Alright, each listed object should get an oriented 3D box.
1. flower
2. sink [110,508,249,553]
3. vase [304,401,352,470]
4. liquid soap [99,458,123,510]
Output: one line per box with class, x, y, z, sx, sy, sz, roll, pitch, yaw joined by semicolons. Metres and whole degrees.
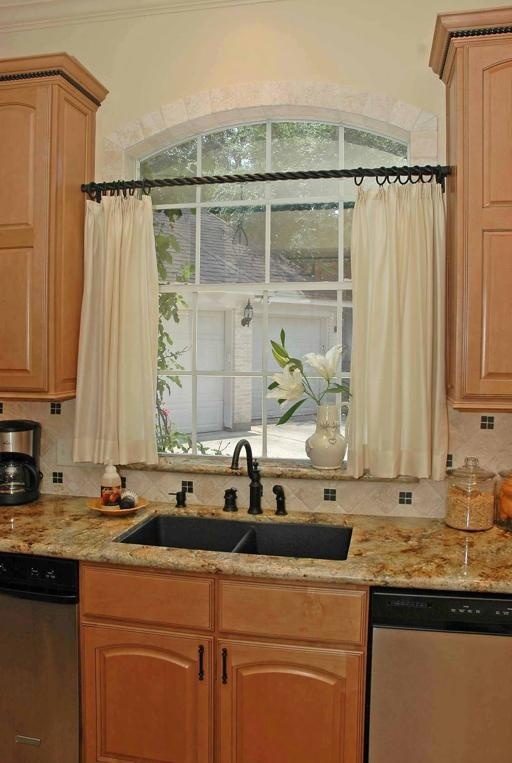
flower;0.213;-0.011;2.815;0.326;0.382;0.406;1;-1;2
sink;-0.235;0.564;2.509;0.446;0.121;0.310;1;-1;3
vase;0.290;0.219;2.737;0.175;0.256;0.142;2;-1;-14
liquid soap;-0.550;0.392;2.657;0.074;0.160;0.062;2;-1;-13
